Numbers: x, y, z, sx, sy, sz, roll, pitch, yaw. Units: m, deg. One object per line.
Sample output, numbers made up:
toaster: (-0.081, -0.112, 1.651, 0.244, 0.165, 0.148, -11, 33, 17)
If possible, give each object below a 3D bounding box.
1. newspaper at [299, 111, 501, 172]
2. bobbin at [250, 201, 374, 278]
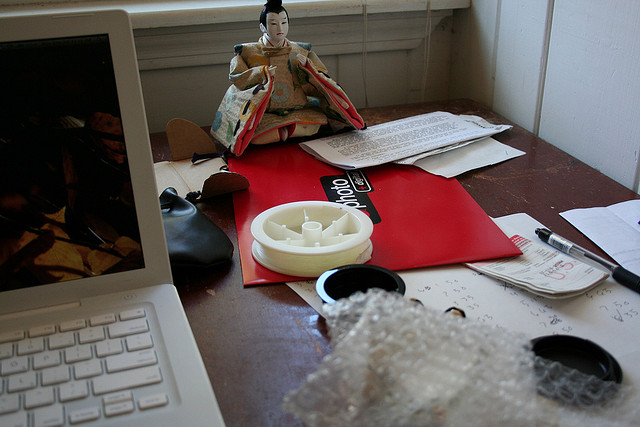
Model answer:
newspaper: (0.180, -0.172, 1.049, 0.418, 0.027, 0.196, -19, 37, -20)
bobbin: (-0.012, 0.036, 0.711, 0.181, 0.051, 0.126, 0, 34, 7)
